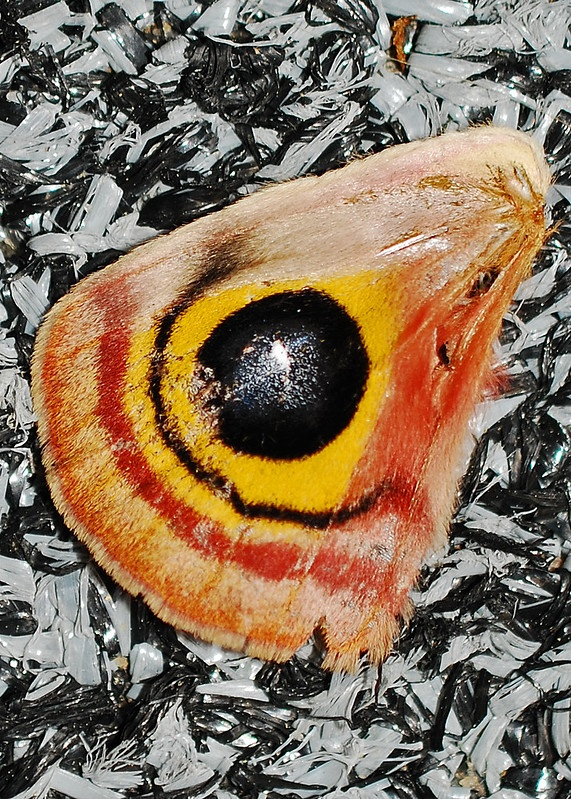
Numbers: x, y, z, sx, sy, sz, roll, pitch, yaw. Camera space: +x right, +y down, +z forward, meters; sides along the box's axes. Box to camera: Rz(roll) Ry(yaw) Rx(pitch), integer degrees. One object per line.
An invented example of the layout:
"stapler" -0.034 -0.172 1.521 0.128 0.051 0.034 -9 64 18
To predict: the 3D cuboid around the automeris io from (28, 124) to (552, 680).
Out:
"automeris io" 0.000 -0.036 0.806 0.434 0.126 0.541 25 80 4
